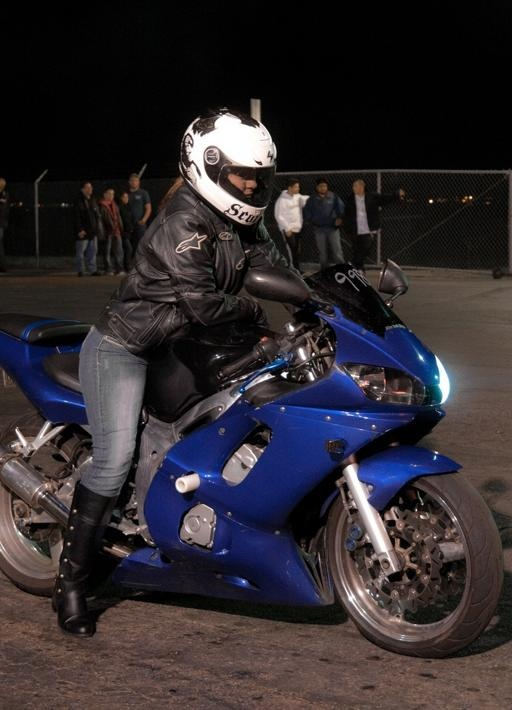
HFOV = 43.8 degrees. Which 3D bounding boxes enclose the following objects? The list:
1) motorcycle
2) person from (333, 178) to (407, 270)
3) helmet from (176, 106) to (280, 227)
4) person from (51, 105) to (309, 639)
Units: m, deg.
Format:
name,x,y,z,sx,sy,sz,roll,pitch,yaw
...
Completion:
name,x,y,z,sx,sy,sz,roll,pitch,yaw
motorcycle,-0.280,0.334,3.095,2.901,1.451,1.073,2,5,27
person,2.767,-3.168,15.465,1.238,2.169,0.835,0,-4,-20
helmet,-0.078,-0.749,2.458,0.345,0.357,0.417,-11,45,-30
person,-0.216,0.026,2.609,1.223,1.870,0.896,-2,8,-18
